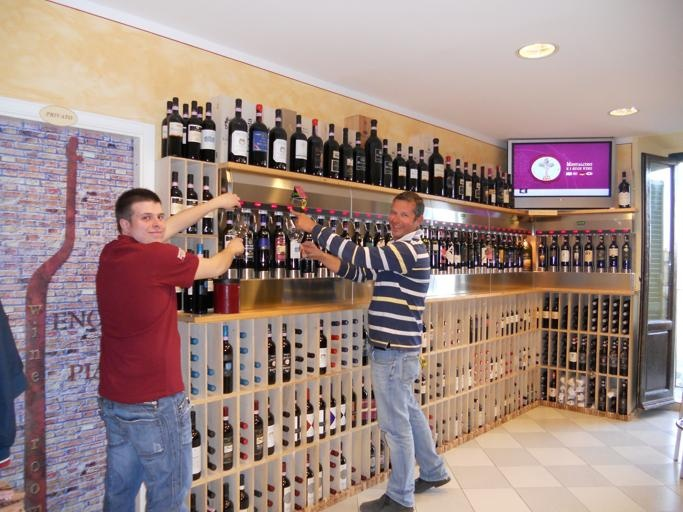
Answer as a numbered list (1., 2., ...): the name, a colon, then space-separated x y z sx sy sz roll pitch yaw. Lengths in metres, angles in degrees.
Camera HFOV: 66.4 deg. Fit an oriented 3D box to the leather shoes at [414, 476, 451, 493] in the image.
1. leather shoes: 0.763 1.889 4.367 0.328 0.132 0.113 -1 -3 -8
